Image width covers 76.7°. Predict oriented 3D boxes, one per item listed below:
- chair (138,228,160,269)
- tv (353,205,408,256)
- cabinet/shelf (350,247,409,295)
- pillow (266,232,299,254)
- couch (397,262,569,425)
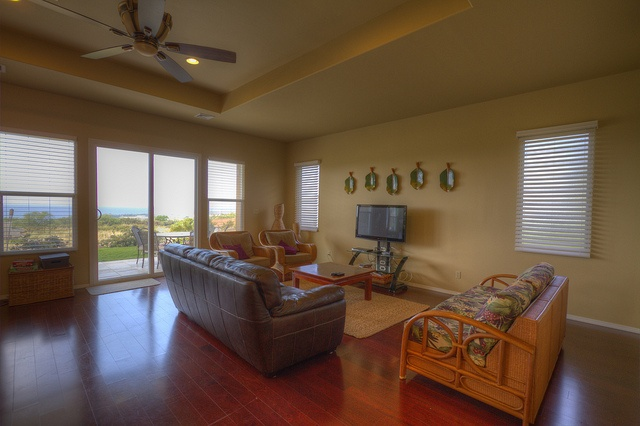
[{"bbox_3d":[-3.279,0.681,7.759,0.366,0.747,0.688,0,0,-19],"label":"chair"},{"bbox_3d":[1.160,0.309,7.532,0.346,0.869,1.019,6,-5,-42],"label":"tv"},{"bbox_3d":[0.999,1.047,7.535,0.516,0.572,1.252,-5,7,-42],"label":"cabinet/shelf"},{"bbox_3d":[-0.726,0.581,8.004,0.510,0.457,0.116,8,-37,-36],"label":"pillow"},{"bbox_3d":[1.843,0.926,4.632,1.442,1.032,2.560,2,2,42],"label":"couch"}]
